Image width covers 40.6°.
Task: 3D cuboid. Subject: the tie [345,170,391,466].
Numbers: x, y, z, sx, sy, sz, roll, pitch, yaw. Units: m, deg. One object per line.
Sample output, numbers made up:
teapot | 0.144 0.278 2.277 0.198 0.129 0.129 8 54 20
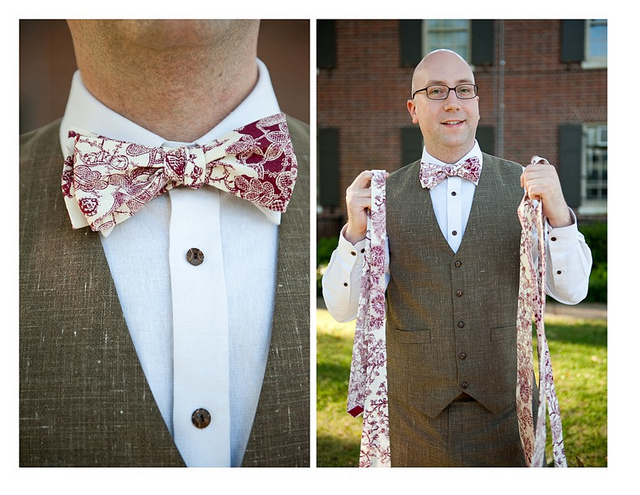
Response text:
tie | 0.197 0.294 3.613 0.170 1.243 0.104 0 -2 2
